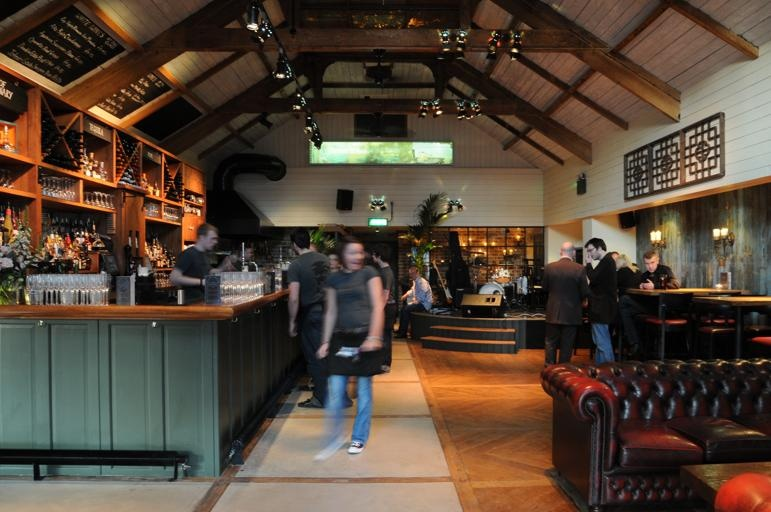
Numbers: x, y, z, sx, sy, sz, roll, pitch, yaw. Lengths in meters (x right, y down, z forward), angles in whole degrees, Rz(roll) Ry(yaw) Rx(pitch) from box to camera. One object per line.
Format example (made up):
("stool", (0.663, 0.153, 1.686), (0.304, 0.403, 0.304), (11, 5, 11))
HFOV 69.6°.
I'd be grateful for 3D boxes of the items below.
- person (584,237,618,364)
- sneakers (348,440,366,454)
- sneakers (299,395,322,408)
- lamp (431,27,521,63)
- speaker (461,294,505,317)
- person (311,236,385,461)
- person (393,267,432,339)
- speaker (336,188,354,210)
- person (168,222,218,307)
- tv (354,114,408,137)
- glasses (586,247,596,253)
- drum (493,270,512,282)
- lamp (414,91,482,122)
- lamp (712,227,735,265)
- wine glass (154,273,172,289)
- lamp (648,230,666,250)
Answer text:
("person", (3.159, 0.722, 8.154), (0.505, 1.949, 1.265), (5, 11, 22))
("sneakers", (-0.322, 2.100, 6.047), (0.086, 0.086, 0.219), (-2, -9, 12))
("sneakers", (-0.981, 1.946, 7.334), (0.305, 0.102, 0.138), (2, -6, 9))
("lamp", (1.504, -3.318, 8.650), (1.367, 0.498, 0.587), (1, 9, 5))
("speaker", (1.893, 0.970, 10.826), (0.809, 0.440, 0.384), (2, 10, 7))
("person", (-0.402, 0.964, 6.209), (0.705, 2.355, 0.904), (0, 10, -5))
("person", (0.657, 1.031, 11.945), (0.737, 1.572, 0.553), (4, 11, 17))
("speaker", (-1.049, -1.426, 14.371), (0.412, 0.575, 0.275), (-1, 10, -9))
("person", (-2.352, 0.074, 6.818), (0.430, 0.892, 0.564), (4, 10, 17))
("tv", (-0.131, -3.409, 14.584), (1.439, 0.615, 0.305), (0, 10, -4))
("glasses", (3.102, -0.090, 8.366), (0.160, 0.068, 0.140), (4, -3, 10))
("drum", (2.528, 0.456, 11.872), (0.405, 0.115, 0.373), (-1, 3, 0))
("lamp", (1.289, -3.047, 11.353), (1.277, 0.448, 0.813), (1, 9, 2))
("lamp", (6.135, -0.147, 10.144), (0.347, 0.706, 0.384), (-6, 12, -31))
("wine glass", (-3.763, 0.431, 9.338), (0.307, 0.113, 0.393), (0, 11, -8))
("lamp", (5.745, -0.332, 11.693), (0.321, 0.405, 0.297), (10, 13, 43))
